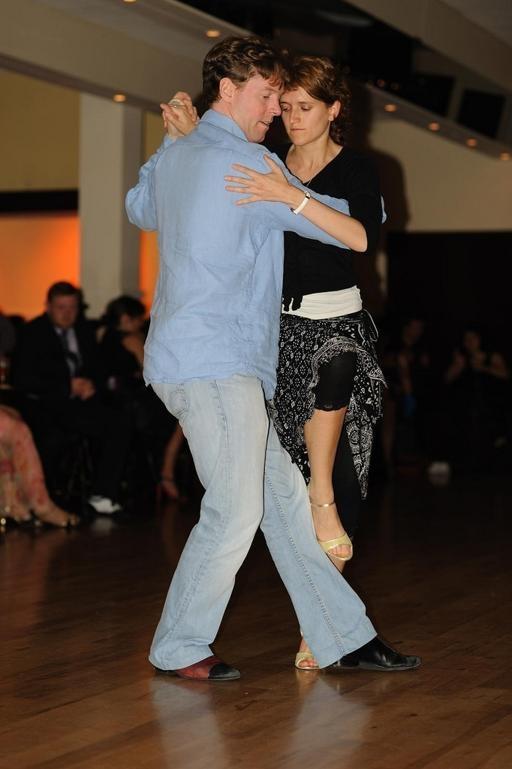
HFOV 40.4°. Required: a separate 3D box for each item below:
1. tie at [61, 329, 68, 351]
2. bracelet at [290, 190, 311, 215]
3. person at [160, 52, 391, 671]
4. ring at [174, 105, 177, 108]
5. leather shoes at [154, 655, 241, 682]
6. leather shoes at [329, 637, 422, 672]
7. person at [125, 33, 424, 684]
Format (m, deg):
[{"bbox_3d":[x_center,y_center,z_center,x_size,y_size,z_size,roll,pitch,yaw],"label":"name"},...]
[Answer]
[{"bbox_3d":[-1.308,-0.304,4.784,0.011,0.145,0.049,-3,-6,45],"label":"tie"},{"bbox_3d":[0.097,-0.381,1.463,0.014,0.043,0.042,29,-34,8],"label":"bracelet"},{"bbox_3d":[-0.023,-0.117,1.837,0.647,1.483,0.405,3,13,3],"label":"person"},{"bbox_3d":[-0.204,-0.706,1.760,0.008,0.009,0.004,1,-11,3],"label":"ring"},{"bbox_3d":[-0.142,0.685,1.724,0.198,0.071,0.069,-3,-5,12],"label":"leather shoes"},{"bbox_3d":[0.314,0.704,1.841,0.275,0.101,0.084,-3,-3,5],"label":"leather shoes"},{"bbox_3d":[-0.026,-0.041,1.761,0.833,1.499,0.554,-3,-9,12],"label":"person"}]
